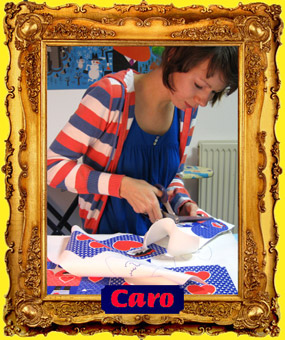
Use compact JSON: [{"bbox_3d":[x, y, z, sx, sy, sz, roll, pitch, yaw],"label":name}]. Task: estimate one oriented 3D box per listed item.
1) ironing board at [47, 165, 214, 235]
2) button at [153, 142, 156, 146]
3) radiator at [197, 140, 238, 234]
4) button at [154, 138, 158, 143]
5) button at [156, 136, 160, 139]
[{"bbox_3d":[-0.034,0.088,1.400,0.455,0.225,0.048,4,-18,4],"label":"ironing board"},{"bbox_3d":[0.035,-0.072,1.406,0.012,0.009,0.003,1,2,-4],"label":"button"},{"bbox_3d":[0.217,0.045,1.399,0.127,0.249,0.103,5,-18,7],"label":"radiator"},{"bbox_3d":[0.039,-0.082,1.405,0.014,0.011,0.003,1,3,-7],"label":"button"},{"bbox_3d":[0.046,-0.090,1.405,0.008,0.008,0.004,5,-18,4],"label":"button"}]
